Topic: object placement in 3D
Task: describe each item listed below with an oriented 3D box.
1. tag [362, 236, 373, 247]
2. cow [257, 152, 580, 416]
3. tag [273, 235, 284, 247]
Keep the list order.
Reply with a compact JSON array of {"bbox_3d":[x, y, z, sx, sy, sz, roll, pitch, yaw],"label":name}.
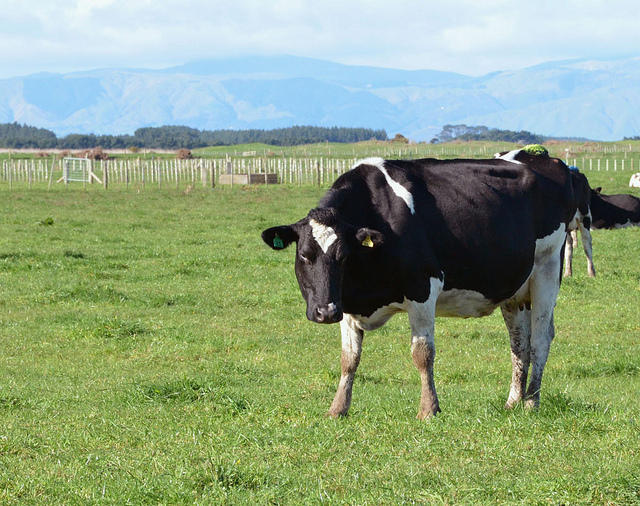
[{"bbox_3d":[0.748,-0.172,16.688,0.195,0.156,0.047,-4,0,35],"label":"tag"},{"bbox_3d":[1.883,0.598,18.341,6.333,4.471,2.162,-1,3,-35],"label":"cow"},{"bbox_3d":[-0.653,-0.190,17.275,0.164,0.247,0.009,7,34,19],"label":"tag"}]
